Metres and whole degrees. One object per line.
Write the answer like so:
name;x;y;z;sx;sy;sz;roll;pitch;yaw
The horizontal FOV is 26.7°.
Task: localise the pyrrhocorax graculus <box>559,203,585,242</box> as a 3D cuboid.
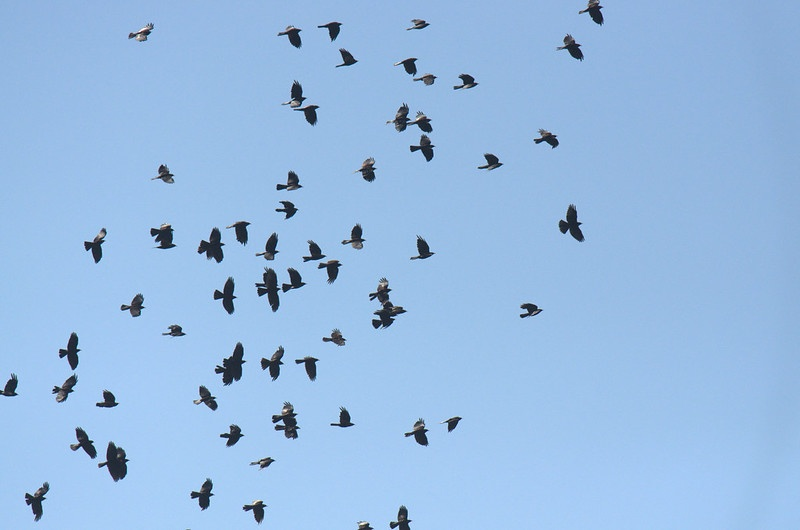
pyrrhocorax graculus;1.541;-0.360;15.606;0.196;0.317;0.262;-11;-39;5
